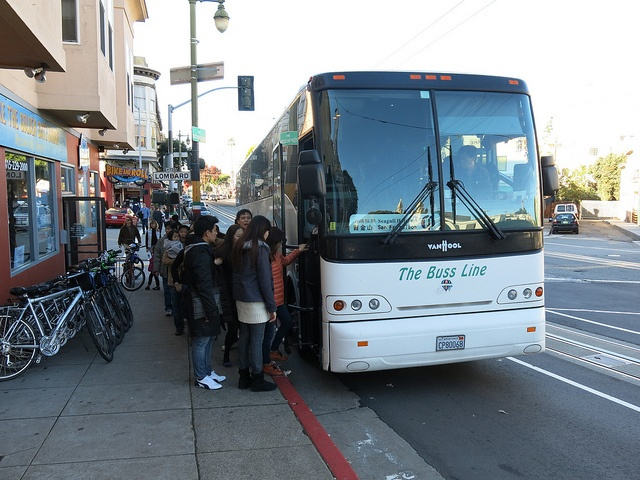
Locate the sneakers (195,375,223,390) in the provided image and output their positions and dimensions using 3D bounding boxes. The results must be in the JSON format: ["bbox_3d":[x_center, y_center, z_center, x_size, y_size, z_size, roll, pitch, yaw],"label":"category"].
[{"bbox_3d":[-1.533,1.963,6.702,0.292,0.136,0.167,3,2,18],"label":"sneakers"}]

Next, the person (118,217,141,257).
[{"bbox_3d":[-5.743,0.013,14.489,0.639,1.525,0.345,-6,33,-27],"label":"person"}]

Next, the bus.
[{"bbox_3d":[1.247,0.406,11.117,3.267,4.292,10.219,-1,-7,-1],"label":"bus"}]

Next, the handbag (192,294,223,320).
[{"bbox_3d":[-1.541,0.814,6.549,0.424,0.382,0.260,-3,0,-9],"label":"handbag"}]

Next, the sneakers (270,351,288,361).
[{"bbox_3d":[-0.644,1.895,7.912,0.346,0.161,0.124,1,5,-11],"label":"sneakers"}]

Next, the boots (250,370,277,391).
[{"bbox_3d":[-0.808,1.952,6.639,0.428,0.346,0.168,-3,4,-19],"label":"boots"}]

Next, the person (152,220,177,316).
[{"bbox_3d":[-3.286,0.662,10.376,0.502,1.816,0.732,-7,0,13],"label":"person"}]

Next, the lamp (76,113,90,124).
[{"bbox_3d":[-5.706,-2.946,11.691,0.256,0.137,0.260,12,24,40],"label":"lamp"}]

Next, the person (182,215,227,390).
[{"bbox_3d":[-1.617,0.875,6.726,0.555,2.368,0.608,-2,5,-15],"label":"person"}]

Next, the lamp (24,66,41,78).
[{"bbox_3d":[-4.980,-2.857,8.311,0.365,0.141,0.197,2,6,23],"label":"lamp"}]

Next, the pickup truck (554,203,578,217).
[{"bbox_3d":[21.844,-2.756,42.999,1.637,1.657,2.627,-2,-6,31],"label":"pickup truck"}]
